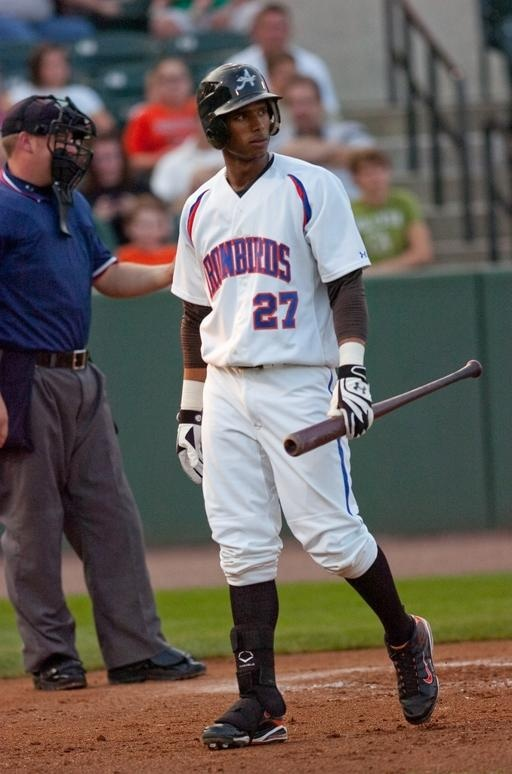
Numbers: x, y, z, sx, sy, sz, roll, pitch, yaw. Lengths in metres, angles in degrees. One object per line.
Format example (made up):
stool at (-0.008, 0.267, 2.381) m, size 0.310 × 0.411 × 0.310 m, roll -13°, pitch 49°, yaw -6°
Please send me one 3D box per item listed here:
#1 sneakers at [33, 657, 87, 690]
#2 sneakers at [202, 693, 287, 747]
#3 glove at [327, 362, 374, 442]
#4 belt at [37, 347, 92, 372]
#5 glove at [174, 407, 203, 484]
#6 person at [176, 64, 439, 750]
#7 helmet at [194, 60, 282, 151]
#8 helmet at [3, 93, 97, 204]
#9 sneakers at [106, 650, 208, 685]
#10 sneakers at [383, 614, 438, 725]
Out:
sneakers at (-0.712, 1.064, 3.977) m, size 0.094 × 0.091 × 0.218 m, roll 0°, pitch -1°, yaw -28°
sneakers at (-0.030, 0.938, 3.021) m, size 0.294 × 0.135 × 0.102 m, roll 12°, pitch -20°, yaw -43°
glove at (0.264, 0.034, 2.940) m, size 0.136 × 0.187 × 0.080 m, roll -5°, pitch -6°, yaw 2°
belt at (-0.688, -0.104, 3.972) m, size 0.095 × 0.080 × 0.293 m, roll -5°, pitch -4°, yaw 21°
glove at (-0.208, 0.185, 3.400) m, size 0.075 × 0.195 × 0.152 m, roll -5°, pitch -7°, yaw -5°
person at (0.073, 0.018, 3.131) m, size 0.738 × 1.962 × 0.502 m, roll -5°, pitch -3°, yaw 10°
helmet at (-0.058, -0.829, 3.124) m, size 0.242 × 0.215 × 0.254 m, roll -9°, pitch 27°, yaw -12°
helmet at (-0.688, -0.891, 4.062) m, size 0.424 × 0.433 × 0.361 m, roll -6°, pitch 2°, yaw -5°
sneakers at (-0.365, 1.075, 4.104) m, size 0.381 × 0.143 × 0.133 m, roll -3°, pitch 3°, yaw -3°
sneakers at (0.416, 0.813, 3.148) m, size 0.119 × 0.320 × 0.155 m, roll -18°, pitch -29°, yaw 26°
